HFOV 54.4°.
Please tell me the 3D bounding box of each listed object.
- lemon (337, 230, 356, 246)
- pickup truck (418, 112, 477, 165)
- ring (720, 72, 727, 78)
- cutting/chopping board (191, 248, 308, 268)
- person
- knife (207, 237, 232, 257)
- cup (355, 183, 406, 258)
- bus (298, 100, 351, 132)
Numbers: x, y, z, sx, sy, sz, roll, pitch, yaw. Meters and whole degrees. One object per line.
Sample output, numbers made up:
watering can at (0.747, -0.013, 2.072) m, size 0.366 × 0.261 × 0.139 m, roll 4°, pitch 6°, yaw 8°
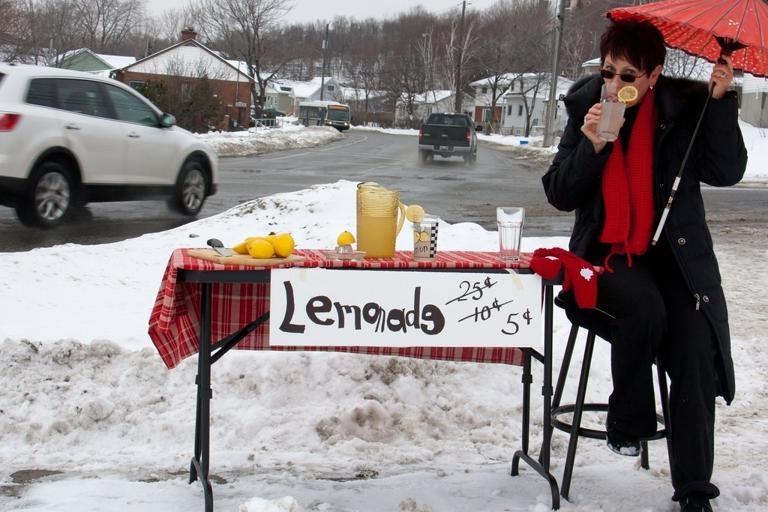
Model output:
lemon at (-0.257, -0.098, 4.616) m, size 0.087 × 0.052 × 0.093 m, roll -2°, pitch 22°, yaw 41°
pickup truck at (2.261, -4.010, 27.034) m, size 1.900 × 1.671 × 3.966 m, roll 3°, pitch 4°, yaw 6°
ring at (2.006, -1.060, 4.399) m, size 0.024 × 0.010 × 0.027 m, roll -2°, pitch 56°, yaw 15°
cutting/chopping board at (-0.819, 0.022, 4.288) m, size 0.688 × 0.042 × 0.234 m, roll 7°, pitch 15°, yaw 11°
person at (1.605, -0.034, 4.834) m, size 1.049 × 3.027 × 1.064 m, roll 0°, pitch 2°, yaw 4°
knife at (-0.995, -0.040, 4.494) m, size 0.078 × 0.050 × 0.332 m, roll -9°, pitch 20°, yaw -18°
cup at (-0.027, -0.212, 4.579) m, size 0.288 × 0.427 × 0.174 m, roll 3°, pitch 12°, yaw 1°
bus at (-4.859, -11.397, 60.813) m, size 2.085 × 2.375 × 7.280 m, roll -2°, pitch 7°, yaw -21°
